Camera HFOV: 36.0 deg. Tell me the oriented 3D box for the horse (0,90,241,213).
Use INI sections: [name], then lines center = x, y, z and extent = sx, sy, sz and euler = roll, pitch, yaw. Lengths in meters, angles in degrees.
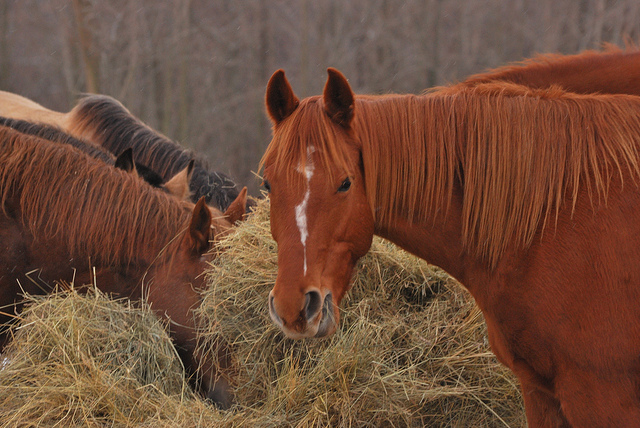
[horse]
center = -2.597, -0.776, 12.914
extent = 1.902, 0.549, 1.136
euler = 23, -6, 9
